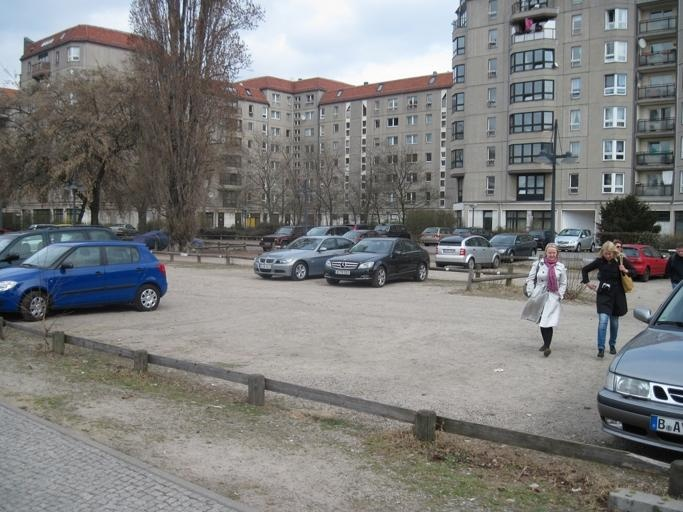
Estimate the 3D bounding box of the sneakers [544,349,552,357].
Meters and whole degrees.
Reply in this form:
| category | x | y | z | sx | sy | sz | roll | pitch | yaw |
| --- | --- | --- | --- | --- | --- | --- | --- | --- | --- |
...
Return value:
| category | x | y | z | sx | sy | sz | roll | pitch | yaw |
| --- | --- | --- | --- | --- | --- | --- | --- | --- | --- |
| sneakers | 3.475 | 1.653 | 10.450 | 0.067 | 0.085 | 0.185 | -1 | -20 | -3 |

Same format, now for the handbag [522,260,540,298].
| category | x | y | z | sx | sy | sz | roll | pitch | yaw |
| --- | --- | --- | --- | --- | --- | --- | --- | --- | --- |
| handbag | 3.285 | 0.376 | 10.665 | 0.213 | 0.607 | 0.406 | 15 | 7 | 20 |

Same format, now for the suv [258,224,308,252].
| category | x | y | z | sx | sy | sz | roll | pitch | yaw |
| --- | --- | --- | --- | --- | --- | --- | --- | --- | --- |
| suv | -4.054 | -1.227 | 42.271 | 1.598 | 1.593 | 3.091 | -1 | 1 | 37 |

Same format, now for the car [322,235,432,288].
| category | x | y | z | sx | sy | sz | roll | pitch | yaw |
| --- | --- | --- | --- | --- | --- | --- | --- | --- | --- |
| car | 1.373 | 0.184 | 21.513 | 1.576 | 1.270 | 3.443 | -2 | -3 | 36 |

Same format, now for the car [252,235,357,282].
| category | x | y | z | sx | sy | sz | roll | pitch | yaw |
| --- | --- | --- | --- | --- | --- | --- | --- | --- | --- |
| car | -1.208 | 0.026 | 23.464 | 1.586 | 1.160 | 3.488 | 0 | 2 | 38 |

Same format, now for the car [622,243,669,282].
| category | x | y | z | sx | sy | sz | roll | pitch | yaw |
| --- | --- | --- | --- | --- | --- | --- | --- | --- | --- |
| car | 10.990 | 0.262 | 22.337 | 1.384 | 1.027 | 2.539 | 3 | 8 | 41 |

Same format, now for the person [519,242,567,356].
| category | x | y | z | sx | sy | sz | roll | pitch | yaw |
| --- | --- | --- | --- | --- | --- | --- | --- | --- | --- |
| person | 3.509 | 0.741 | 10.705 | 0.719 | 1.911 | 0.744 | 1 | 2 | 18 |

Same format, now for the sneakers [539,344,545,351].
| category | x | y | z | sx | sy | sz | roll | pitch | yaw |
| --- | --- | --- | --- | --- | --- | --- | --- | --- | --- |
| sneakers | 3.505 | 1.622 | 10.796 | 0.113 | 0.149 | 0.326 | -2 | -5 | 21 |

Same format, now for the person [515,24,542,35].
| category | x | y | z | sx | sy | sz | roll | pitch | yaw |
| --- | --- | --- | --- | --- | --- | --- | --- | --- | --- |
| person | 16.534 | -20.121 | 54.827 | 1.167 | 0.350 | 1.285 | 6 | 10 | 41 |
